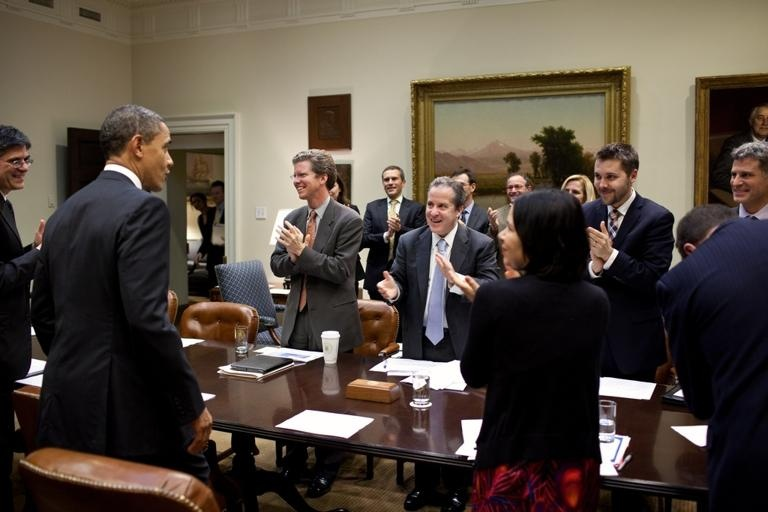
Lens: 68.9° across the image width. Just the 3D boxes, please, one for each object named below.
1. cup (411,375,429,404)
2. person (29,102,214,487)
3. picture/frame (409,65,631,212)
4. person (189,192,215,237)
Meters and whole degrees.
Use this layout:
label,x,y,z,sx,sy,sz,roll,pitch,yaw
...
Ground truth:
label,x,y,z,sx,sy,sz,roll,pitch,yaw
cup,0.176,0.637,2.673,0.107,0.183,0.110,0,-4,0
person,-1.082,0.181,2.274,0.701,1.576,0.465,-1,9,-18
picture/frame,1.451,-1.258,5.678,1.857,1.498,0.086,0,7,17
person,-3.275,-0.644,10.213,0.381,1.206,0.326,4,44,-8
